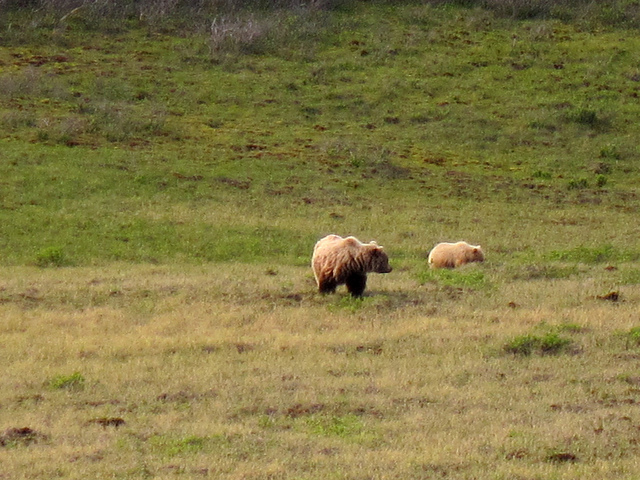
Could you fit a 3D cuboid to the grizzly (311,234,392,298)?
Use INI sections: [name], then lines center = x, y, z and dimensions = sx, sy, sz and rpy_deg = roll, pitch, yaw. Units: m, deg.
[grizzly]
center = 1.947, 1.566, 98.847
dimensions = 5.793, 4.154, 2.960
rpy_deg = 9, 15, 34
